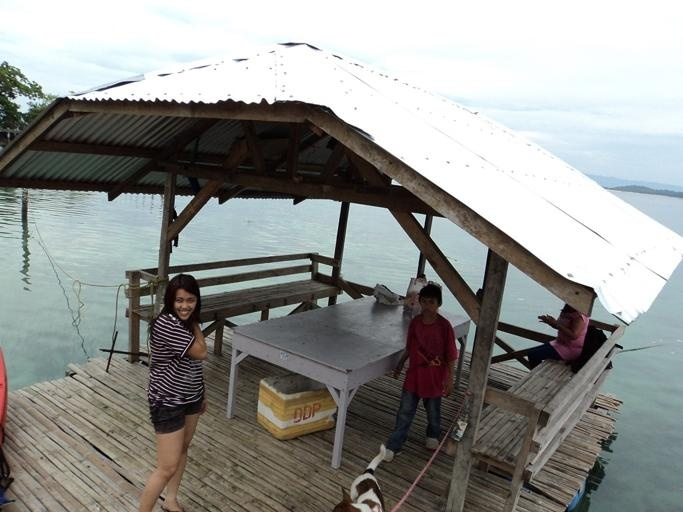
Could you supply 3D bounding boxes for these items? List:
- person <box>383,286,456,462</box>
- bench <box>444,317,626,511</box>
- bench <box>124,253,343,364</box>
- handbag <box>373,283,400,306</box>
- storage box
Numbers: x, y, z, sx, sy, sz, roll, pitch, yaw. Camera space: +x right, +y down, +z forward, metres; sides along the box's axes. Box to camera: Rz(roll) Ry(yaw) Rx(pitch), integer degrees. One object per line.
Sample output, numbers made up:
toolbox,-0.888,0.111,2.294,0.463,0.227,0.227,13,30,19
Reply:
person,1.084,1.521,5.965,0.815,2.412,1.036,14,22,11
bench,2.699,2.230,6.515,1.103,1.419,4.173,24,27,35
bench,-1.772,0.882,9.127,3.949,1.368,1.317,-7,18,-41
handbag,0.803,0.737,8.788,0.545,0.202,0.325,24,16,19
storage box,-0.647,2.075,6.490,1.000,0.516,0.711,3,-1,-34
